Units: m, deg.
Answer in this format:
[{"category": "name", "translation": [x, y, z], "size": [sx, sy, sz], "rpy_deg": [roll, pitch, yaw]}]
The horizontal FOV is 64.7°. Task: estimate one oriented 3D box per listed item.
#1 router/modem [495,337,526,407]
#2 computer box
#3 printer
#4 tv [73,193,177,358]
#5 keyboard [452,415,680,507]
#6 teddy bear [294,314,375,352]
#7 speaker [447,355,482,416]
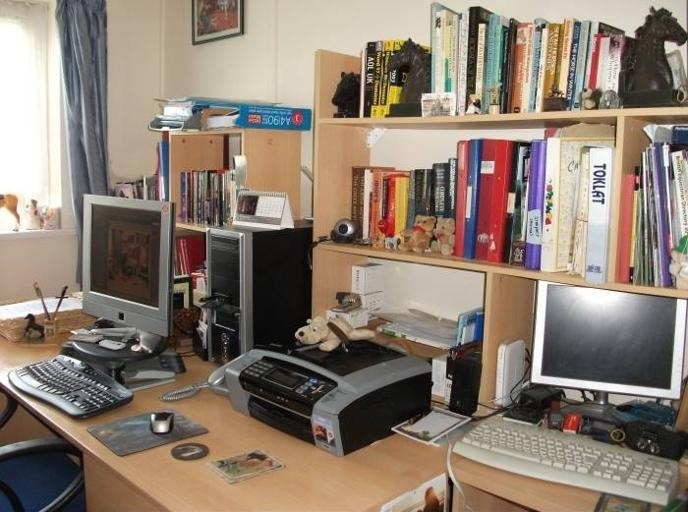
[{"category": "router/modem", "translation": [0.568, 0.396, 1.857], "size": [0.047, 0.195, 0.153], "rpy_deg": [7, 4, 36]}, {"category": "computer box", "translation": [-0.308, 0.108, 2.224], "size": [0.313, 0.594, 0.349], "rpy_deg": [-4, 12, -44]}, {"category": "printer", "translation": [-0.059, 0.434, 1.889], "size": [0.564, 0.241, 0.502], "rpy_deg": [6, 13, 40]}, {"category": "tv", "translation": [-0.829, 0.094, 2.087], "size": [0.805, 0.647, 0.076], "rpy_deg": [7, 8, 42]}, {"category": "keyboard", "translation": [0.615, 0.568, 1.538], "size": [0.565, 0.046, 0.213], "rpy_deg": [6, 13, 28]}, {"category": "teddy bear", "translation": [-0.037, 0.263, 1.953], "size": [0.255, 0.092, 0.205], "rpy_deg": [-7, 20, -26]}, {"category": "speaker", "translation": [0.400, 0.428, 1.842], "size": [0.113, 0.183, 0.077], "rpy_deg": [12, 16, 28]}]
